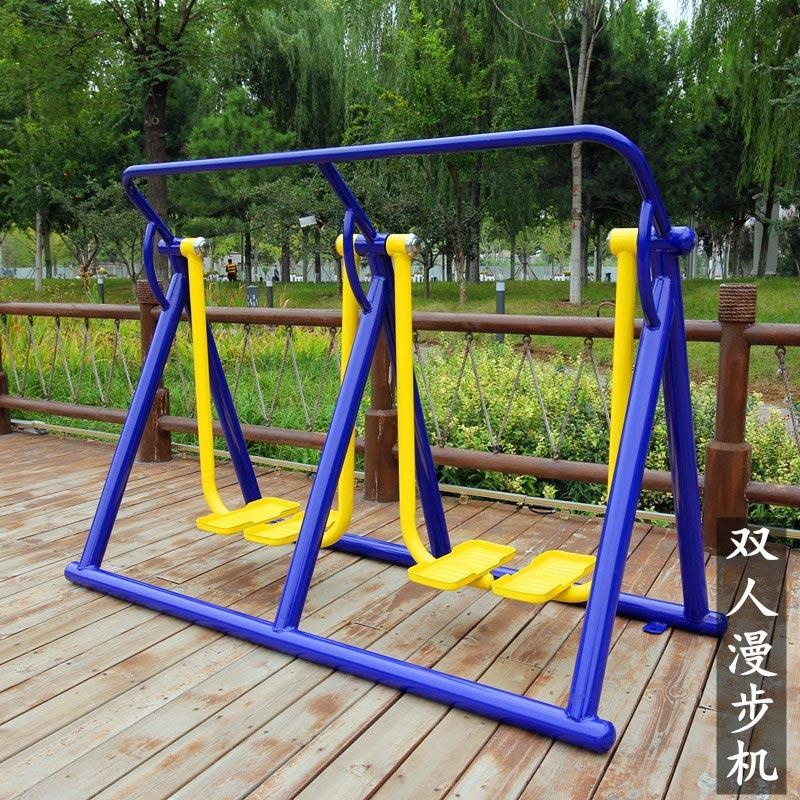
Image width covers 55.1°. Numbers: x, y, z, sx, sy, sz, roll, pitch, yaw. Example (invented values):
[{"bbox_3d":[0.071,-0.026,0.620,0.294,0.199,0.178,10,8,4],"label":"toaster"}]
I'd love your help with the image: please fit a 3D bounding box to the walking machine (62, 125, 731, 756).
[{"bbox_3d":[-0.136,-0.034,2.255,1.971,1.386,0.714,5,10,30],"label":"walking machine"}]
